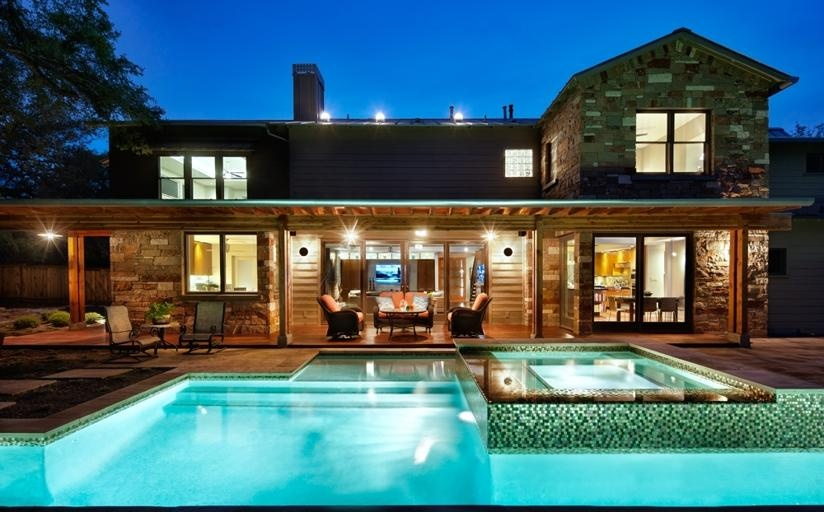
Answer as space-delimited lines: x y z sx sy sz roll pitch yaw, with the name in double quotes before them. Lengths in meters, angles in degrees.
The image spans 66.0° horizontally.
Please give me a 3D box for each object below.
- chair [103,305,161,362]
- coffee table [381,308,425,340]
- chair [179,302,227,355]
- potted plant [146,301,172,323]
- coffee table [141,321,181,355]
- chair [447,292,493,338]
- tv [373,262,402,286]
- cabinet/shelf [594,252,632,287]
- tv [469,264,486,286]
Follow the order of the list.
"chair" -9.202 2.548 21.156 1.827 1.816 2.068 2 -4 -6
"coffee table" -0.233 2.528 22.256 1.466 0.625 1.045 0 0 1
"chair" -6.941 2.403 21.089 1.458 1.597 1.303 -2 3 -21
"potted plant" -8.698 1.995 22.106 0.811 0.477 0.743 0 1 -19
"coffee table" -8.270 2.836 21.474 1.249 0.784 1.240 -3 -4 40
"chair" 2.058 2.145 22.059 1.518 1.423 0.829 -1 3 -11
"tv" -0.867 0.699 24.310 1.119 0.773 0.140 0 -2 8
"cabinet/shelf" 7.784 0.527 24.569 0.528 1.232 1.481 2 -2 -7
"tv" 2.534 0.757 24.340 0.943 1.083 0.124 -2 -7 36
